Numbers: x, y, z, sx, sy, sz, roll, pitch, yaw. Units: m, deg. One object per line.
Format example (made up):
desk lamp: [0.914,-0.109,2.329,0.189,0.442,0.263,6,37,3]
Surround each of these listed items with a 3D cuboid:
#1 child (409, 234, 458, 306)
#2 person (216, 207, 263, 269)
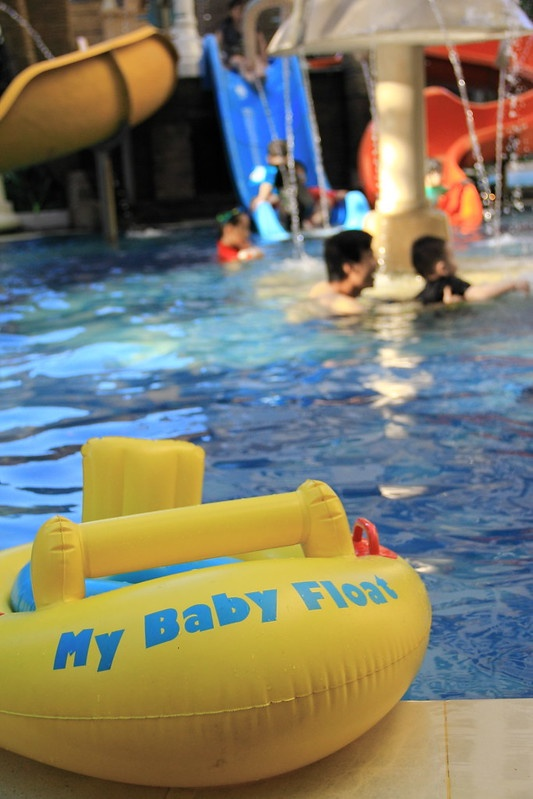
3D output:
child: [1.048,-0.885,4.552,0.244,0.282,0.218,-1,11,14]
person: [-0.294,-1.575,6.965,0.437,0.527,0.644,-1,10,12]
